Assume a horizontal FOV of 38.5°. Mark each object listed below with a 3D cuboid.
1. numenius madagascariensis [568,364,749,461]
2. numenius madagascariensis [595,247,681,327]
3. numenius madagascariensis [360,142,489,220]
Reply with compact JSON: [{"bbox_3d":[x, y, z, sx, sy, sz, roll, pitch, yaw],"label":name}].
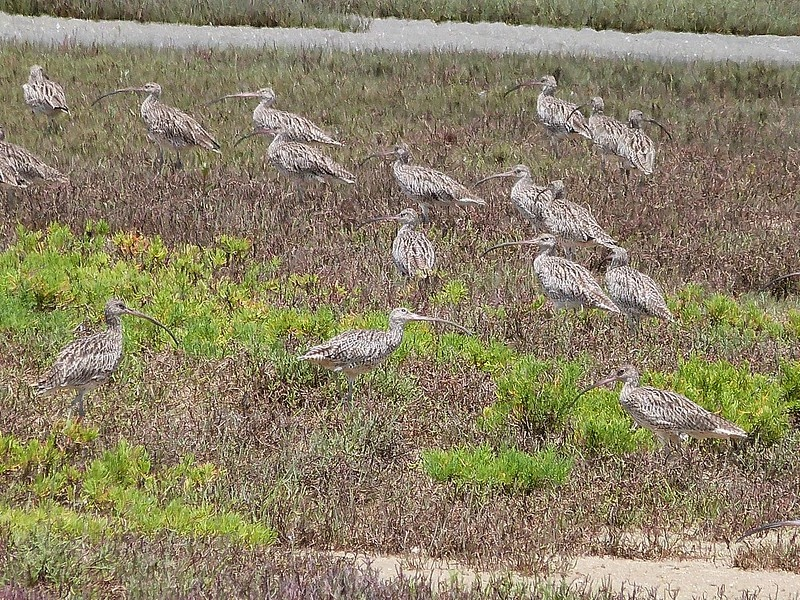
[{"bbox_3d":[2.559,1.119,12.422,2.266,1.396,0.750,-2,6,35],"label":"numenius madagascariensis"},{"bbox_3d":[2.889,-0.129,14.428,0.553,0.971,1.186,-15,34,-37],"label":"numenius madagascariensis"},{"bbox_3d":[0.378,-2.004,18.308,2.386,1.651,0.817,3,5,15],"label":"numenius madagascariensis"}]
